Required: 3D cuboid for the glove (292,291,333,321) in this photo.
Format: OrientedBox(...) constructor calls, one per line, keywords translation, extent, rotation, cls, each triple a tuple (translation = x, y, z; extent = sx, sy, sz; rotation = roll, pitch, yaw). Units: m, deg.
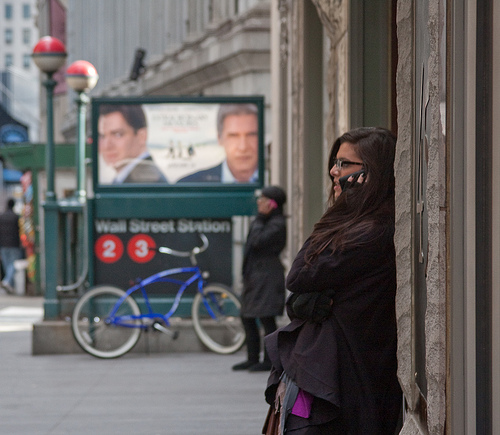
OrientedBox(translation=(0.285, 0.407, 5.984), extent=(0.180, 0.163, 0.058), rotation=(9, 5, 11), cls="glove")
